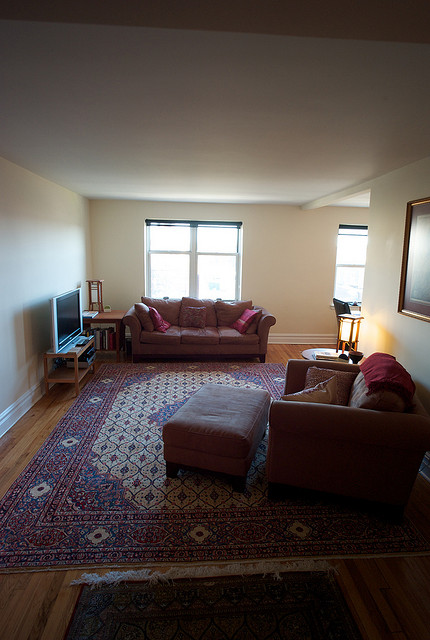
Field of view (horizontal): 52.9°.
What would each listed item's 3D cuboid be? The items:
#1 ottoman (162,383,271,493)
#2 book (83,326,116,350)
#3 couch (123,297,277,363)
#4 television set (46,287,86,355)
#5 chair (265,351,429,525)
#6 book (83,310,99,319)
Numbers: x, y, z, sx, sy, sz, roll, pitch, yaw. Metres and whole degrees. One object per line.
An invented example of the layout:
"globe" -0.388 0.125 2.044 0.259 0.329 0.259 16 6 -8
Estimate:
"ottoman" 0.025 0.800 2.982 0.560 0.406 0.704 5 12 16
"book" -1.495 0.242 5.725 0.344 0.128 0.336 5 12 17
"couch" -0.239 0.140 5.681 1.873 0.746 0.716 0 12 -8
"television set" -1.508 -0.003 4.386 0.310 0.568 0.986 -2 12 -15
"chair" 0.827 0.664 2.774 0.859 0.801 0.969 5 12 17
"book" -1.590 -0.066 5.525 0.142 0.033 0.131 4 19 -7
